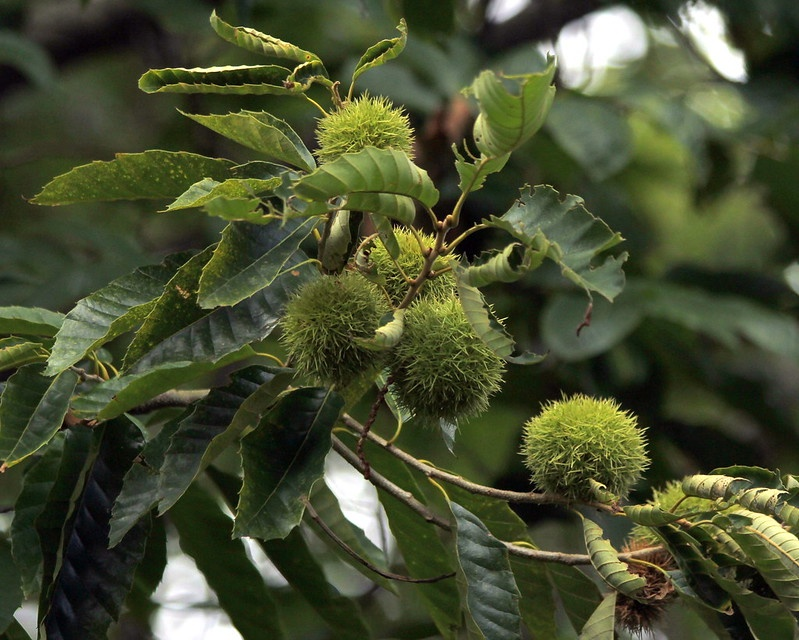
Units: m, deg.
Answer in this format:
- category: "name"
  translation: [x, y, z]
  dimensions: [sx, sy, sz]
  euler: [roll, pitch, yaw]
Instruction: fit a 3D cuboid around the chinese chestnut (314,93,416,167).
- category: "chinese chestnut"
  translation: [-0.076, -0.494, 2.849]
  dimensions: [0.197, 0.144, 0.179]
  euler: [10, 19, 22]
